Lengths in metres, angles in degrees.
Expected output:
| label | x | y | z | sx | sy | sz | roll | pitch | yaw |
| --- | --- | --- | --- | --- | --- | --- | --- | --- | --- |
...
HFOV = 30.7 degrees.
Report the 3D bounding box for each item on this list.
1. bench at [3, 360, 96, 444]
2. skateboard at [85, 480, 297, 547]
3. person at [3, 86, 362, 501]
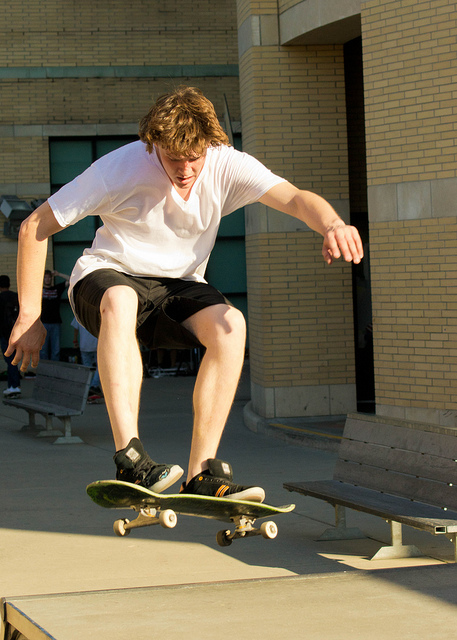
| label | x | y | z | sx | sy | sz | roll | pitch | yaw |
| --- | --- | --- | --- | --- | --- | --- | --- | --- | --- |
| bench | -2.265 | 1.085 | 10.654 | 0.502 | 0.581 | 1.414 | 4 | -2 | -28 |
| skateboard | -0.187 | 0.773 | 3.439 | 1.161 | 0.184 | 0.348 | 12 | -25 | -19 |
| person | -0.275 | -0.124 | 3.587 | 1.536 | 1.730 | 0.705 | 0 | -1 | 7 |
